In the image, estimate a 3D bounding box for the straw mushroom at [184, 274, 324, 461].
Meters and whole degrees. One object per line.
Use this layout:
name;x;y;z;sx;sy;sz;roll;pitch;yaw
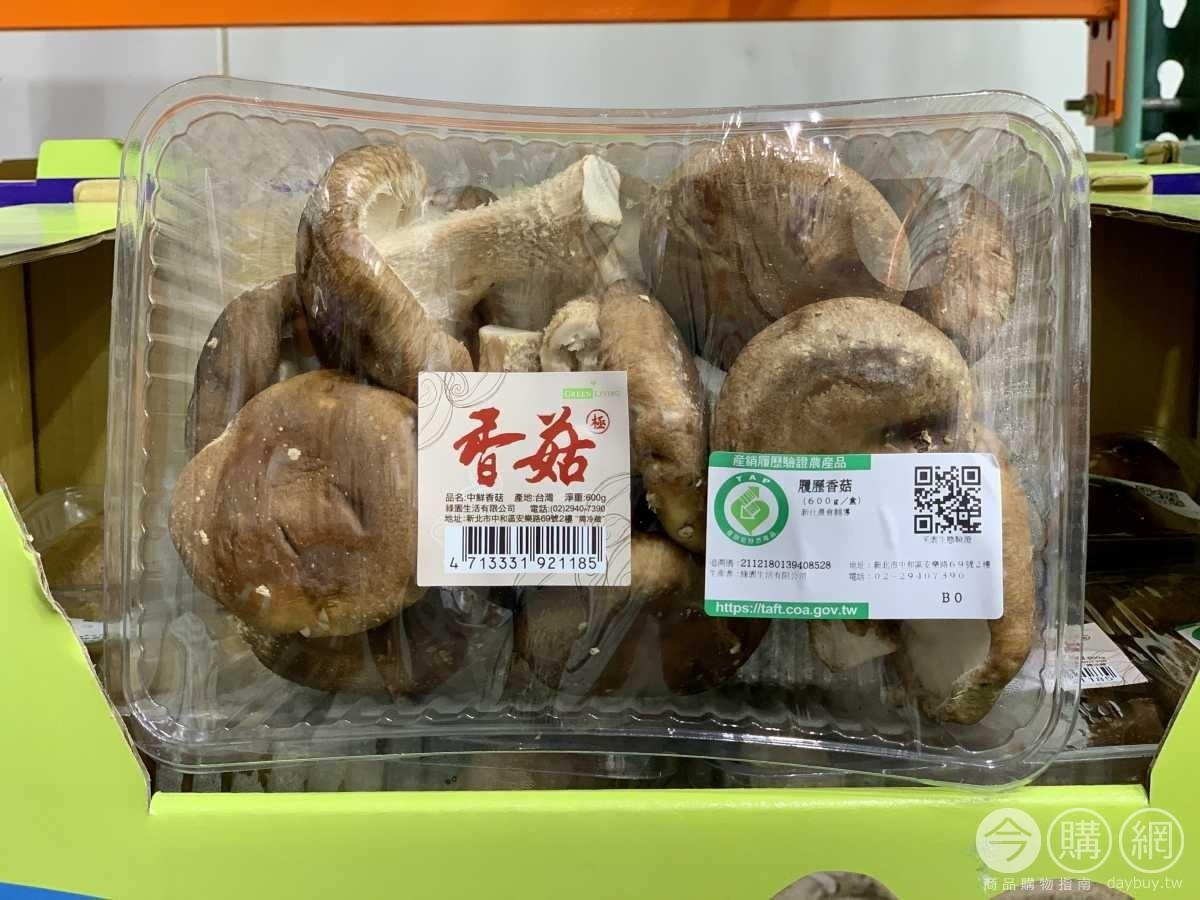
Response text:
straw mushroom;-0.375;-0.133;1.214;0.142;0.052;0.112;-20;-31;23

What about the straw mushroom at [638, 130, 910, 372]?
straw mushroom;0.180;-0.217;1.100;0.234;0.258;0.094;17;7;12

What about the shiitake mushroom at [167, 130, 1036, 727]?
shiitake mushroom;-0.006;-0.059;1.127;0.806;0.586;0.195;2;-10;7

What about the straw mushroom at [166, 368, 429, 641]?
straw mushroom;-0.311;0.056;1.127;0.260;0.247;0.107;-2;15;12
